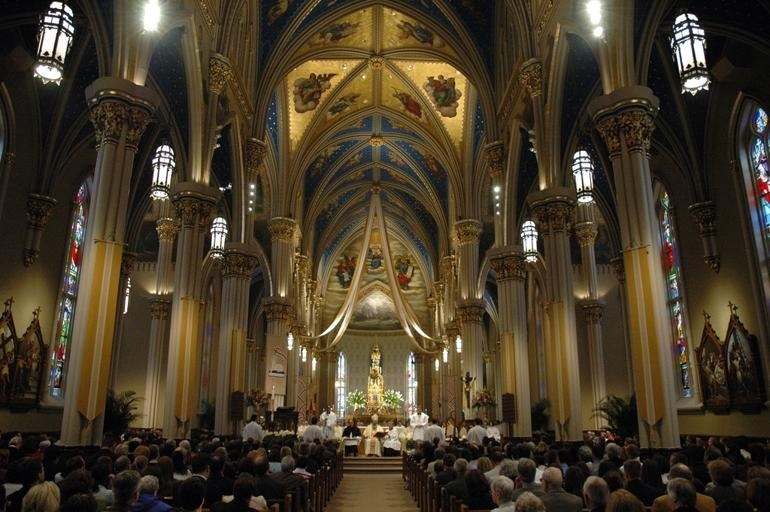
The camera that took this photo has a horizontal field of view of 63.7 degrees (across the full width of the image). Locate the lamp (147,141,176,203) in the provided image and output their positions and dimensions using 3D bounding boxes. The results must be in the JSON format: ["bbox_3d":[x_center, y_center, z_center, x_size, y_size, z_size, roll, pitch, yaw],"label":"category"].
[{"bbox_3d":[-6.613,-2.577,18.461,0.559,1.908,0.837,7,-18,-23],"label":"lamp"}]

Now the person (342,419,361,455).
[{"bbox_3d":[-1.493,8.275,28.451,0.699,1.597,1.212,-6,-18,18],"label":"person"}]

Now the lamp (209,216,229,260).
[{"bbox_3d":[-5.880,-0.760,21.974,0.542,1.956,1.553,5,-18,-16],"label":"lamp"}]

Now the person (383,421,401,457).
[{"bbox_3d":[0.344,8.482,28.662,0.808,1.404,1.421,-1,-17,1],"label":"person"}]

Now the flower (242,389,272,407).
[{"bbox_3d":[-5.055,5.614,24.553,0.822,0.800,0.869,4,-7,3],"label":"flower"}]

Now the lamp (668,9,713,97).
[{"bbox_3d":[6.749,-4.700,13.783,0.601,2.045,0.764,-15,-22,39],"label":"lamp"}]
